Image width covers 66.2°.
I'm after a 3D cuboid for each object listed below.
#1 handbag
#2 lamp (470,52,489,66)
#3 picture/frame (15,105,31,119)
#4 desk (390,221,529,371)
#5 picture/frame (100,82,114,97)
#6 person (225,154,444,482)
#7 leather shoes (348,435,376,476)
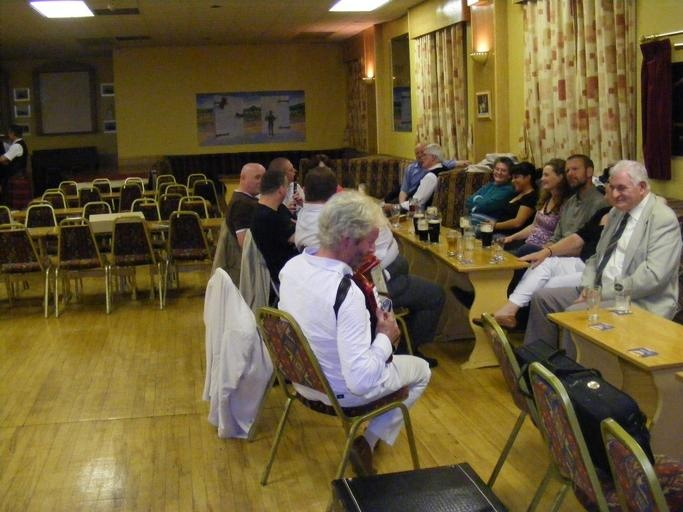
[{"bbox_3d":[1.024,0.620,2.181,0.208,0.541,0.612,-21,21,-4],"label":"handbag"},{"bbox_3d":[1.929,-2.723,7.293,0.266,0.157,0.225,4,14,27],"label":"lamp"},{"bbox_3d":[-8.615,-3.853,14.124,0.433,0.352,0.077,-2,11,0],"label":"picture/frame"},{"bbox_3d":[0.953,0.353,4.208,0.374,0.541,1.112,0,13,-10],"label":"desk"},{"bbox_3d":[-6.426,-4.494,14.302,0.260,0.302,0.417,-1,11,-10],"label":"picture/frame"},{"bbox_3d":[0.056,0.284,2.398,0.673,1.124,0.522,-3,12,-8],"label":"person"},{"bbox_3d":[0.103,1.044,2.766,0.092,0.128,0.299,1,3,1],"label":"leather shoes"}]
